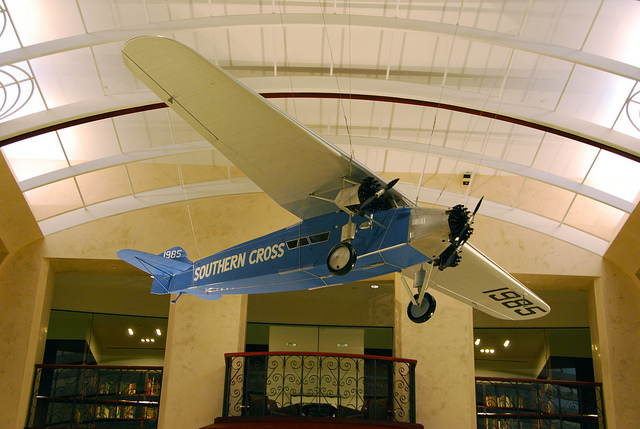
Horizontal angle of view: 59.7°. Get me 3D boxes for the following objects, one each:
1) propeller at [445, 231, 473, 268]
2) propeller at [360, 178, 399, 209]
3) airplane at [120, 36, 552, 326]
[{"bbox_3d":[2.920,0.729,11.698,0.151,0.098,1.166,12,-48,-29],"label":"propeller"},{"bbox_3d":[1.255,-0.425,11.849,0.984,0.139,0.144,-33,2,6],"label":"propeller"},{"bbox_3d":[-0.642,-0.204,12.295,6.787,4.126,5.375,3,-30,-3],"label":"airplane"}]
